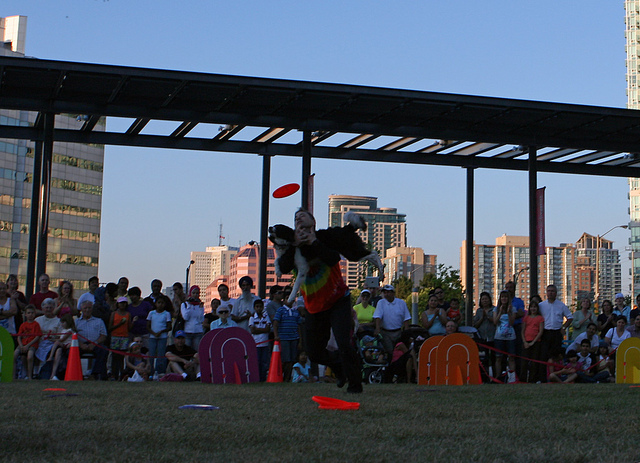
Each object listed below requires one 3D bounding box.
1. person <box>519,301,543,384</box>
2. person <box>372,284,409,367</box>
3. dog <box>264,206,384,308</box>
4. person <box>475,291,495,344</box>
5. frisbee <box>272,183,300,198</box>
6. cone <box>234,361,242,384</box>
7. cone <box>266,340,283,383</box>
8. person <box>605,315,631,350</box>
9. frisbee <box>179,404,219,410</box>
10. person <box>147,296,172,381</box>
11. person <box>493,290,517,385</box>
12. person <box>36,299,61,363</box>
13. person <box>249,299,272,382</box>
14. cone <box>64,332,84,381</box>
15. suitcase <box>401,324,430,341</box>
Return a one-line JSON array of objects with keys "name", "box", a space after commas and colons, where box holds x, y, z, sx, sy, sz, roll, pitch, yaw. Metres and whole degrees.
[{"name": "person", "box": [5.025, 2.614, 30.351, 0.577, 1.896, 0.453, -1, -8, 9]}, {"name": "person", "box": [1.685, 2.157, 30.067, 0.856, 1.874, 0.715, 0, -7, 2]}, {"name": "dog", "box": [0.457, 0.440, 25.416, 2.044, 1.501, 2.385, -7, 14, -36]}, {"name": "person", "box": [4.011, 2.065, 30.964, 0.476, 1.278, 0.832, -1, -7, 7]}, {"name": "frisbee", "box": [-0.715, -0.903, 28.218, 0.444, 0.300, 0.392, -5, -8, 37]}, {"name": "cone", "box": [-1.812, 3.119, 28.469, 0.142, 0.484, 0.098, 0, -8, -4]}, {"name": "cone", "box": [-1.023, 2.985, 29.448, 0.376, 0.919, 0.781, 0, -7, -2]}, {"name": "person", "box": [7.196, 2.413, 30.798, 0.592, 0.825, 0.712, -1, -7, 7]}, {"name": "frisbee", "box": [-2.221, 3.250, 23.731, 0.708, 0.092, 0.606, 0, -6, -7]}, {"name": "person", "box": [-3.752, 2.494, 30.134, 0.580, 1.968, 0.652, 1, -7, -8]}, {"name": "person", "box": [4.435, 2.476, 30.465, 0.550, 2.195, 0.751, -1, -7, 7]}, {"name": "person", "box": [-6.289, 2.289, 29.635, 0.562, 1.434, 0.395, 0, -7, -1]}, {"name": "person", "box": [-1.377, 2.530, 30.132, 0.390, 1.896, 0.635, 6, -10, -39]}, {"name": "cone", "box": [-5.596, 2.842, 29.260, 0.423, 1.105, 0.595, 1, -7, -11]}, {"name": "suitcase", "box": [2.259, 2.380, 29.978, 0.658, 0.368, 0.708, -1, -7, 4]}]
